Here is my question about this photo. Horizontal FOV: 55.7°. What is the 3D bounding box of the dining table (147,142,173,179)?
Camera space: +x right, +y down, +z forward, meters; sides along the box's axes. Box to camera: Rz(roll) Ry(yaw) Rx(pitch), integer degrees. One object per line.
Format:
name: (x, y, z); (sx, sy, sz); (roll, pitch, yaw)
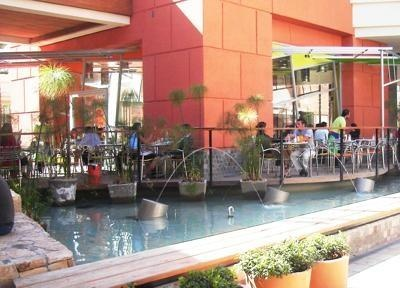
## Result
dining table: (-0.845, 0.357, 8.507); (0.627, 0.782, 0.678); (7, -2, -31)

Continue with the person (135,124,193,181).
person: (-0.725, 0.229, 8.687); (1.073, 1.503, 1.045); (2, -2, 4)

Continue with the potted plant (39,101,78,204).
potted plant: (-2.769, 0.121, 7.405); (0.551, 1.783, 0.671); (-4, 2, -26)

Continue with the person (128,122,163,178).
person: (-1.247, 0.239, 8.404); (0.722, 1.229, 0.645); (12, -2, -32)

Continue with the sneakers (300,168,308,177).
sneakers: (2.257, 0.636, 8.256); (0.135, 0.152, 0.264); (2, -2, 8)

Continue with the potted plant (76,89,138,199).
potted plant: (-2.367, -0.063, 8.849); (1.389, 2.114, 1.793); (-6, -1, 0)

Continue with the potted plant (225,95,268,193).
potted plant: (1.181, 0.001, 7.639); (0.804, 1.647, 0.696); (11, -1, -35)

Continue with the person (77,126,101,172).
person: (-2.634, 0.056, 8.884); (0.470, 0.910, 0.378); (7, 6, 16)

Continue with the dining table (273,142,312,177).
dining table: (2.073, 0.330, 8.270); (0.668, 0.553, 0.708); (1, 0, -3)

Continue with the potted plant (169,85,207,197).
potted plant: (-0.202, -0.151, 8.531); (0.885, 2.513, 2.116); (-3, 2, -4)
